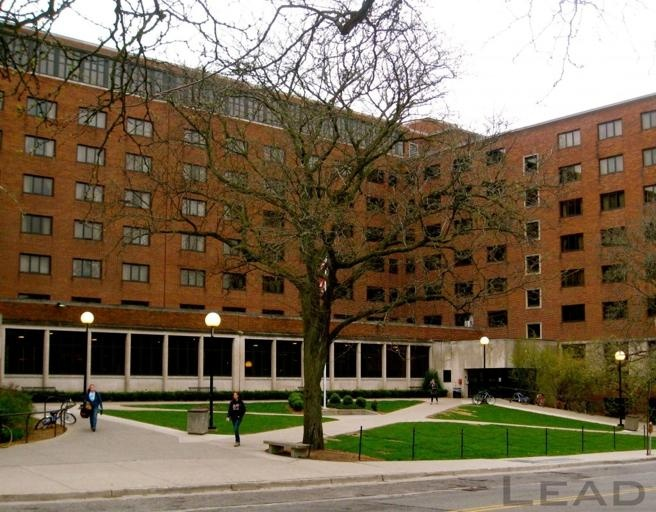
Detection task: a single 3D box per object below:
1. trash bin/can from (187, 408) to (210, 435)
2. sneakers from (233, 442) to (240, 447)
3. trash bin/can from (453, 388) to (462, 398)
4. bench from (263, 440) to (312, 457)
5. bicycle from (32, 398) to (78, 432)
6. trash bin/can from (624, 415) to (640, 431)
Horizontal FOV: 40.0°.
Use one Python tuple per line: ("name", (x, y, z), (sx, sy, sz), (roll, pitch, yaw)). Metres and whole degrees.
("trash bin/can", (-6.265, 7.951, 43.105), (1.153, 1.150, 1.166), (-1, -8, 15))
("sneakers", (-3.972, 8.258, 39.300), (0.156, 0.147, 0.157), (-1, 3, 8))
("trash bin/can", (11.097, 11.729, 76.874), (0.871, 0.854, 0.648), (-1, -7, 9))
("bench", (-1.633, 8.079, 37.425), (1.403, 0.735, 1.971), (12, -19, -44))
("bicycle", (-12.930, 7.742, 42.945), (1.562, 1.310, 2.662), (8, 5, 18))
("trash bin/can", (18.896, 10.430, 55.970), (0.814, 0.948, 1.529), (-5, -14, 16))
